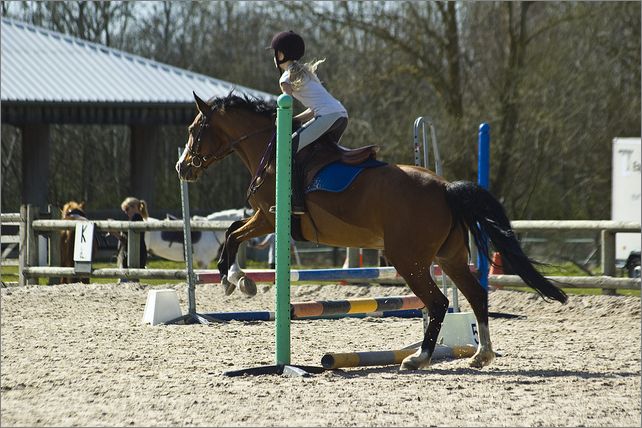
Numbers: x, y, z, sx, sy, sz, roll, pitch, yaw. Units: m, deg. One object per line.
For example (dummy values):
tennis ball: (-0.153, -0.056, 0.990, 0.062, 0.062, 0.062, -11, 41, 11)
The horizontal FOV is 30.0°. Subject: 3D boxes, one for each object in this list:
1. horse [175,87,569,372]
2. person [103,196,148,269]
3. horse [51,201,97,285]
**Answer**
horse: (0.567, 0.335, 21.798, 6.592, 5.022, 1.534, 3, -3, 12)
person: (-4.125, 0.539, 25.975, 0.871, 1.743, 0.685, 7, -1, -32)
horse: (-5.345, 0.549, 26.090, 0.744, 2.021, 1.019, 0, -5, 5)
